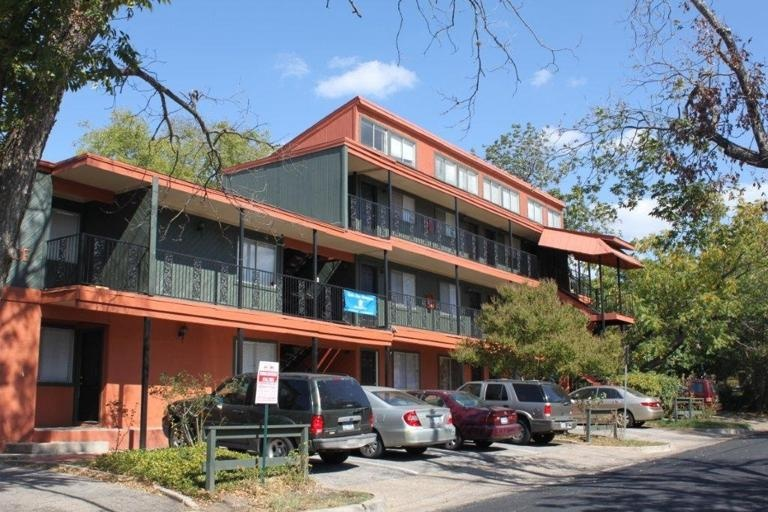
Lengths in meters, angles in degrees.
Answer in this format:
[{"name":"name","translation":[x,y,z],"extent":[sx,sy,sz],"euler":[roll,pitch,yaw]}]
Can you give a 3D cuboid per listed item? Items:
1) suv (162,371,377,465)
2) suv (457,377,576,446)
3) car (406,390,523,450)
[{"name":"suv","translation":[-3.178,4.211,20.860],"extent":[5.077,2.161,2.518],"euler":[-1,-11,30]},{"name":"suv","translation":[4.446,5.118,26.127],"extent":[3.867,1.824,1.970],"euler":[0,-7,32]},{"name":"car","translation":[2.371,5.090,23.909],"extent":[3.460,1.227,1.605],"euler":[-4,-9,39]}]
